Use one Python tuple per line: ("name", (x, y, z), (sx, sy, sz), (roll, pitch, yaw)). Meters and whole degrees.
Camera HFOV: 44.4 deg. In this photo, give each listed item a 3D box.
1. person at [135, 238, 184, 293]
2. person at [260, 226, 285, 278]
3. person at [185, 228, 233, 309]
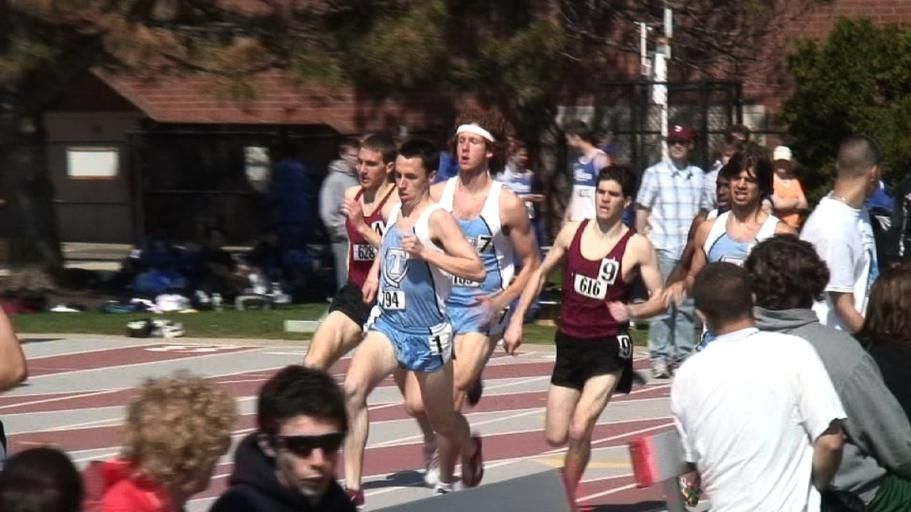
("person", (-4.186, 0.188, 15.895), (0.707, 0.581, 1.215), (-2, 10, -15))
("person", (-2.693, -0.063, 16.281), (0.231, 0.736, 0.498), (-6, 13, -29))
("person", (-3.439, 0.316, 15.904), (0.637, 0.663, 1.228), (-2, 10, -11))
